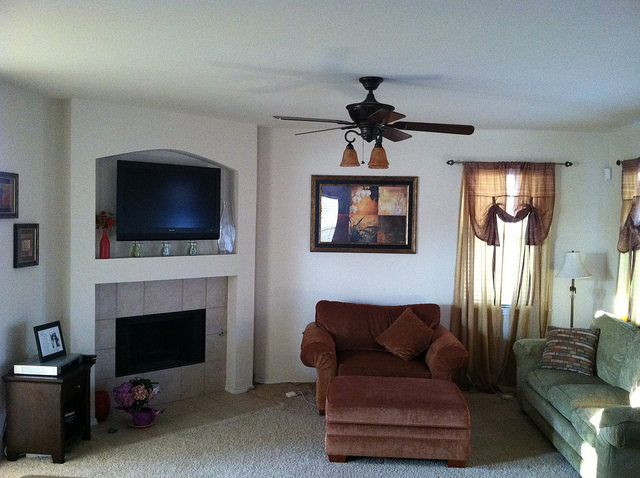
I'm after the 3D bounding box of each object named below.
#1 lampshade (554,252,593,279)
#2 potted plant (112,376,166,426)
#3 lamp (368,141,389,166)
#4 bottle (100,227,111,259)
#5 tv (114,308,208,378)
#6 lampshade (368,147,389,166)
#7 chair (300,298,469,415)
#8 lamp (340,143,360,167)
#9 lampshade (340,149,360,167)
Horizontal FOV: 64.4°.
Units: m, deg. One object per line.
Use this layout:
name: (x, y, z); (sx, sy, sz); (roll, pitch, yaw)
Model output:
lampshade: (2.829, 0.306, 5.736); (0.320, 0.339, 0.305); (-2, -4, -15)
potted plant: (-1.814, 1.653, 5.106); (0.462, 0.509, 0.495); (0, 4, -39)
lamp: (0.483, -0.699, 4.192); (0.169, 0.196, 0.177); (0, 1, -7)
bottle: (-2.167, 0.035, 5.115); (0.093, 0.297, 0.143); (-2, 7, -24)
tv: (-1.851, 1.086, 5.823); (0.979, 0.648, 0.526); (-2, 9, -25)
lampshade: (0.497, -0.677, 4.272); (0.146, 0.162, 0.141); (1, -4, -3)
chair: (0.661, 1.296, 5.564); (1.695, 1.015, 0.961); (1, 4, 2)
lamp: (0.257, -0.717, 4.363); (0.177, 0.200, 0.193); (0, 1, -5)
lampshade: (0.255, -0.684, 4.381); (0.144, 0.163, 0.159); (1, -3, -14)
